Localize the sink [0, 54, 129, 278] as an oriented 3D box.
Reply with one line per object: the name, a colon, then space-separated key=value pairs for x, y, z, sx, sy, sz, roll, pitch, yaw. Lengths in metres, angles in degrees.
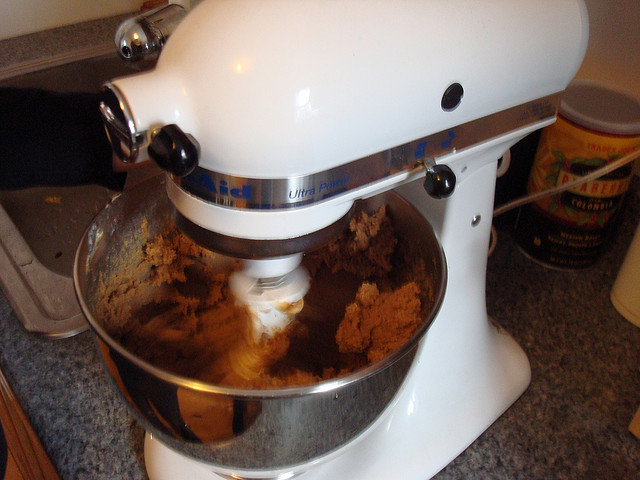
sink: x=-0.482 y=-0.146 z=1.034 sx=0.232 sy=0.138 sz=0.454 roll=-6 pitch=44 yaw=-1

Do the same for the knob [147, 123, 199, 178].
knob: x=-0.126 y=-0.078 z=0.509 sx=0.031 sy=0.052 sz=0.041 roll=23 pitch=28 yaw=27
